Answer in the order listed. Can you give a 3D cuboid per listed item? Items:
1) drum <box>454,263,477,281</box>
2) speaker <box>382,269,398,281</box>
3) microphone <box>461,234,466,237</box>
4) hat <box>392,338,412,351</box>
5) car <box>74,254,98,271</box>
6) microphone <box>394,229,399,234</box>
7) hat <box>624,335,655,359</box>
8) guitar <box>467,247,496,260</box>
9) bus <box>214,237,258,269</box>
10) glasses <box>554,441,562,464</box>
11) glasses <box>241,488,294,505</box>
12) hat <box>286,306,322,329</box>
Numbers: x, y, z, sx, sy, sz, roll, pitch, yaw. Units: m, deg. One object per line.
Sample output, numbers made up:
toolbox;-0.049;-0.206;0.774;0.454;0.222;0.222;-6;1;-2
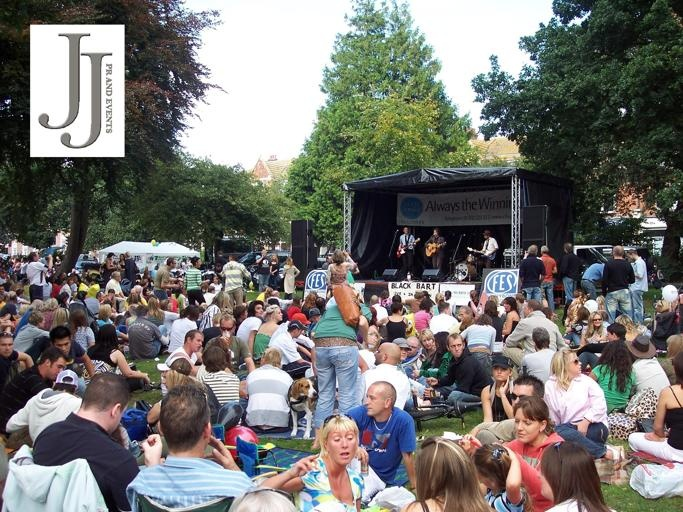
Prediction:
drum;3.889;0.527;23.208;0.646;0.726;0.497;4;6;36
speaker;1.563;0.660;23.567;0.357;0.383;0.374;-2;30;31
microphone;4.241;-0.716;25.566;0.114;0.125;0.030;25;4;21
hat;0.980;1.456;12.086;0.201;0.142;0.276;18;-14;-7
car;-12.837;0.349;36.472;0.919;0.844;2.106;0;4;-21
microphone;1.921;-0.849;25.519;0.120;0.241;0.126;8;5;28
hat;4.444;1.418;10.918;0.347;0.142;0.346;32;57;27
guitar;4.420;-0.061;23.156;1.108;0.180;0.516;19;18;34
bus;-5.450;-0.214;36.759;1.524;1.501;2.643;-3;-8;23
glasses;2.075;1.881;6.985;0.116;0.132;0.035;-1;-10;-27
glasses;-0.627;2.037;6.131;0.445;0.149;0.158;5;-1;-18
hat;-0.736;1.257;14.718;0.544;0.215;0.358;-1;7;-11
